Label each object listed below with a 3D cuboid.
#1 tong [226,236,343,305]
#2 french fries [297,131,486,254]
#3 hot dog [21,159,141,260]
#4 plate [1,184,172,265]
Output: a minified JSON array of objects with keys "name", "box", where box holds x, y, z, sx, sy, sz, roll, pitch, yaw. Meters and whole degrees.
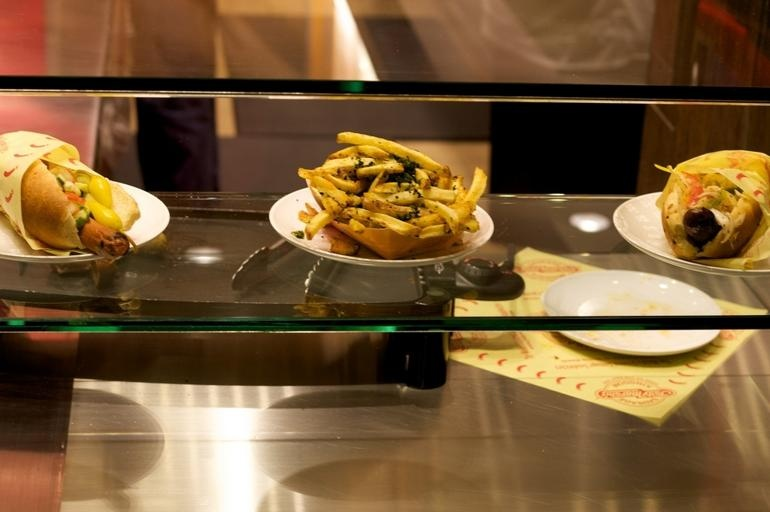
[{"name":"tong","box":[-0.099,0.012,0.748,0.115,0.058,0.111,0,20,13]},{"name":"french fries","box":[0.002,-0.066,0.793,0.223,0.132,0.152,-11,33,-18]},{"name":"hot dog","box":[-0.353,-0.056,0.760,0.138,0.108,0.110,-8,24,-27]},{"name":"plate","box":[-0.392,-0.075,0.798,0.206,0.097,0.162,-18,25,-35]}]
